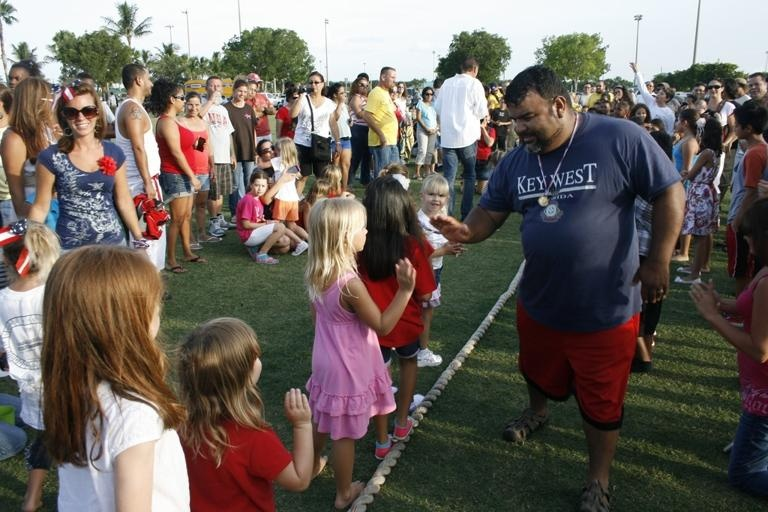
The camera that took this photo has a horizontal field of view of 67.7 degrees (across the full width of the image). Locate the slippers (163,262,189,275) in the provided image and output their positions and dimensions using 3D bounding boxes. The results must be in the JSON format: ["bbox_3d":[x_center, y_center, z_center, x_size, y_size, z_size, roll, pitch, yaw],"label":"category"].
[{"bbox_3d":[-2.398,0.144,6.635,0.187,0.078,0.107,2,12,25],"label":"slippers"}]

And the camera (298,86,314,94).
[{"bbox_3d":[-1.225,-2.605,8.964,0.263,0.104,0.272,2,5,9],"label":"camera"}]

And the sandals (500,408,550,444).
[{"bbox_3d":[0.999,1.219,4.074,0.358,0.152,0.159,-7,11,-42],"label":"sandals"}]

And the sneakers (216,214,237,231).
[{"bbox_3d":[-2.387,-0.491,8.505,0.370,0.264,0.136,2,21,8],"label":"sneakers"}]

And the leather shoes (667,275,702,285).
[{"bbox_3d":[3.071,0.245,5.845,0.229,0.066,0.147,5,2,5],"label":"leather shoes"}]

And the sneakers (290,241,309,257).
[{"bbox_3d":[-1.080,-0.095,7.288,0.239,0.101,0.098,-37,20,33],"label":"sneakers"}]

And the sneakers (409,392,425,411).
[{"bbox_3d":[0.246,1.116,4.386,0.077,0.057,0.145,-4,22,25],"label":"sneakers"}]

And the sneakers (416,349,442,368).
[{"bbox_3d":[0.375,0.862,4.890,0.244,0.160,0.114,-5,12,-7],"label":"sneakers"}]

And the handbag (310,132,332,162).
[{"bbox_3d":[-0.975,-1.663,8.728,0.383,0.394,0.129,-8,17,-32],"label":"handbag"}]

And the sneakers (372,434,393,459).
[{"bbox_3d":[-0.003,1.295,3.955,0.126,0.180,0.190,0,11,0],"label":"sneakers"}]

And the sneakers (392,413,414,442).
[{"bbox_3d":[0.138,1.233,4.073,0.077,0.094,0.216,-1,7,18],"label":"sneakers"}]

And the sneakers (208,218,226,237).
[{"bbox_3d":[-2.344,-0.398,8.117,0.337,0.244,0.147,1,5,34],"label":"sneakers"}]

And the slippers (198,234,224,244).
[{"bbox_3d":[-2.396,-0.232,7.900,0.232,0.084,0.124,-4,10,-20],"label":"slippers"}]

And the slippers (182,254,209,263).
[{"bbox_3d":[-2.309,0.024,7.012,0.276,0.131,0.096,-5,15,-2],"label":"slippers"}]
